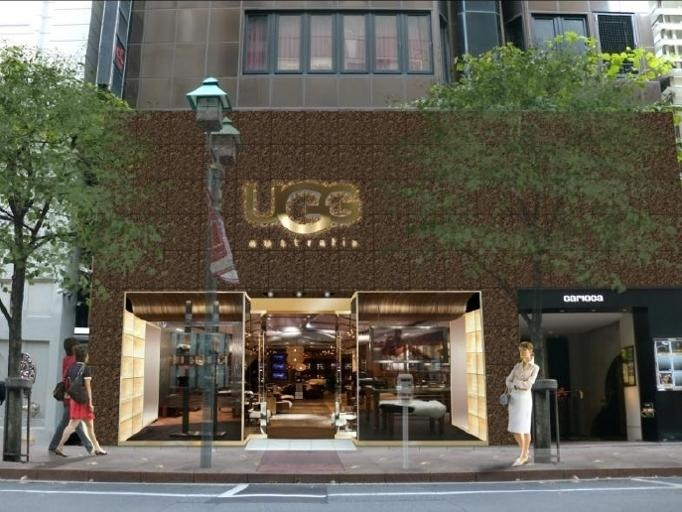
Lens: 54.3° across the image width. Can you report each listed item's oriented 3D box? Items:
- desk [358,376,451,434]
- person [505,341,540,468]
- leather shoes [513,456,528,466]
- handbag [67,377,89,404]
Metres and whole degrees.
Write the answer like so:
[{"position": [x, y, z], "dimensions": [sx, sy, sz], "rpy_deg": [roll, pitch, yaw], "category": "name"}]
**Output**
[{"position": [1.438, 3.780, 16.027], "dimensions": [1.699, 1.325, 2.223], "rpy_deg": [0, -11, -1], "category": "desk"}, {"position": [3.586, 2.933, 13.238], "dimensions": [0.618, 2.421, 0.503], "rpy_deg": [0, -3, -9], "category": "person"}, {"position": [3.511, 4.057, 13.128], "dimensions": [0.410, 0.158, 0.129], "rpy_deg": [2, -15, -30], "category": "leather shoes"}, {"position": [-5.261, 2.738, 13.389], "dimensions": [0.342, 0.521, 0.539], "rpy_deg": [10, -19, -24], "category": "handbag"}]
